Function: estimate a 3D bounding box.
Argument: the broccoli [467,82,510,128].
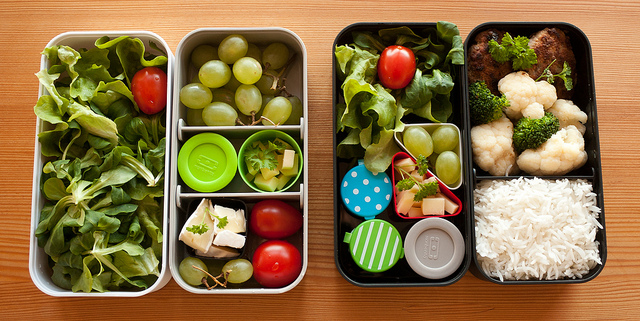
[{"bbox_3d":[1.173,-0.424,3.842,0.245,0.163,0.251,-31,24,-37],"label":"broccoli"}]

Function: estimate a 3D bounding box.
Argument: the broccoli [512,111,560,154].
[{"bbox_3d":[1.475,-0.240,3.903,0.301,0.201,0.480,-6,-9,7],"label":"broccoli"}]
